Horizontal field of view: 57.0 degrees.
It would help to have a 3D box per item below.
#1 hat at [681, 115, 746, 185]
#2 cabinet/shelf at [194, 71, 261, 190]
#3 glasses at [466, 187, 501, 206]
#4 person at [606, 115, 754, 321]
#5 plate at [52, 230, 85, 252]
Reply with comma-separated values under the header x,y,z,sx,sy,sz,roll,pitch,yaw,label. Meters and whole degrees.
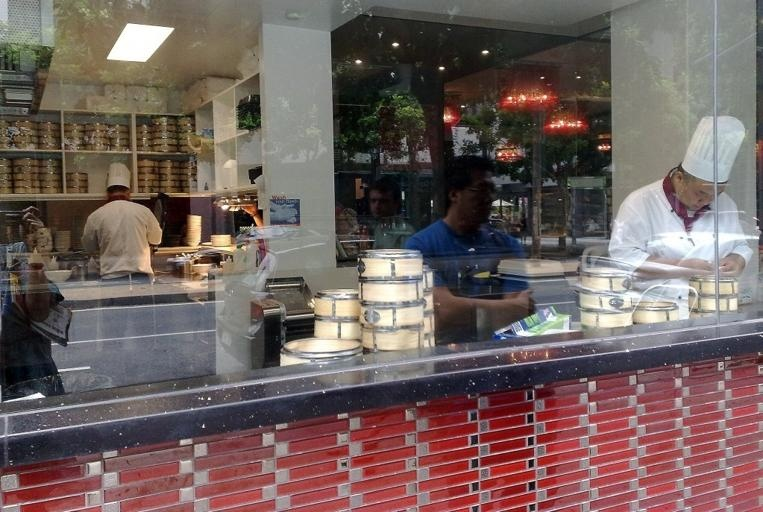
x,y,z,sx,sy,sz,roll,pitch,yaw,label
1.160,-0.359,2.429,0.212,0.199,0.198,22,-1,-19,hat
-0.547,-0.440,2.455,0.184,0.438,0.571,-3,6,-18,cabinet/shelf
0.403,-0.236,2.774,0.097,0.046,0.094,-2,7,-25,glasses
1.024,-0.136,2.415,0.477,0.672,0.211,-3,3,15,person
-0.877,-0.039,1.953,0.070,0.045,0.054,0,2,-28,plate
